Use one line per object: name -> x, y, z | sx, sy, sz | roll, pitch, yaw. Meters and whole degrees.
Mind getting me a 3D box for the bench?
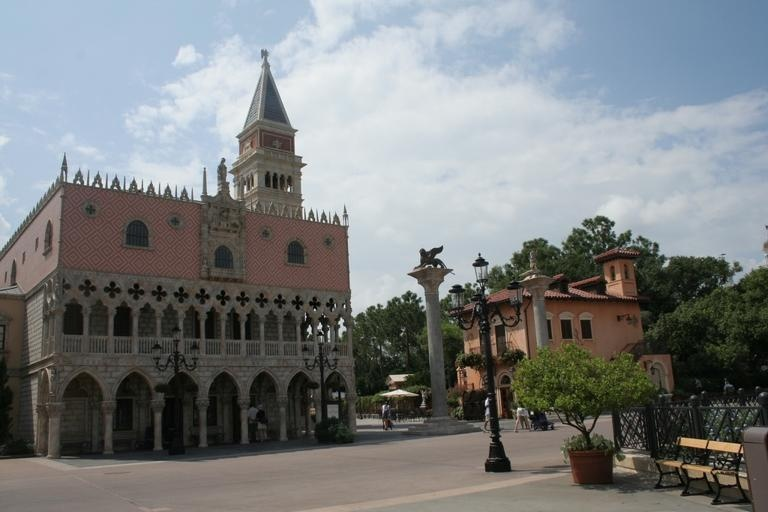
bench -> 9.447, 6.378, 20.771 | 1.058, 1.263, 2.531 | 13, -24, -21
